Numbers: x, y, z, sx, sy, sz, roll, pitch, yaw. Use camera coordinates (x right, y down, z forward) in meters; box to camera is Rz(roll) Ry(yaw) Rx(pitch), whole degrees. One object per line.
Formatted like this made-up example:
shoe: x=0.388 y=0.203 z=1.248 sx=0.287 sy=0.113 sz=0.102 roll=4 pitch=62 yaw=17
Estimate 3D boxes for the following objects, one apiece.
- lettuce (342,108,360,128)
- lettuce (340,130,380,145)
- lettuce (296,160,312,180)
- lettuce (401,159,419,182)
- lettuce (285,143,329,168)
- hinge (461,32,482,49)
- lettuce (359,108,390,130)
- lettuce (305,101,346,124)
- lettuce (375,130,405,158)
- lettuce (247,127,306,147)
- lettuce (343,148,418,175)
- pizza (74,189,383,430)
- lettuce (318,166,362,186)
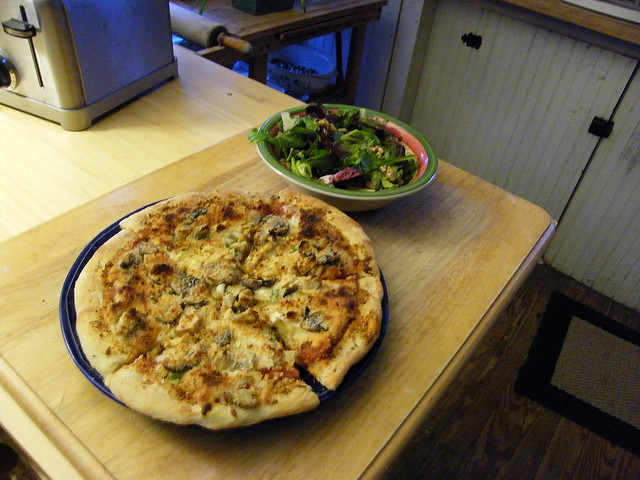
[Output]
lettuce: x=0.097 y=-0.406 z=1.648 sx=0.049 sy=0.019 sz=0.066 roll=16 pitch=81 yaw=12
lettuce: x=0.122 y=-0.325 z=1.596 sx=0.071 sy=0.020 sz=0.073 roll=-2 pitch=36 yaw=5
lettuce: x=-0.044 y=-0.204 z=1.452 sx=0.036 sy=0.018 sz=0.049 roll=-32 pitch=64 yaw=-20
lettuce: x=0.277 y=-0.217 z=1.535 sx=0.059 sy=0.059 sz=0.024 roll=-12 pitch=8 yaw=5
lettuce: x=-0.029 y=-0.258 z=1.507 sx=0.082 sy=0.031 sz=0.083 roll=24 pitch=45 yaw=19
hinge: x=0.877 y=-1.147 z=2.866 sx=0.101 sy=0.066 sz=0.024 roll=26 pitch=26 yaw=39
lettuce: x=0.176 y=-0.391 z=1.631 sx=0.092 sy=0.057 sz=0.023 roll=33 pitch=5 yaw=0
lettuce: x=0.027 y=-0.422 z=1.641 sx=0.106 sy=0.034 sz=0.070 roll=19 pitch=49 yaw=13
lettuce: x=0.233 y=-0.324 z=1.588 sx=0.075 sy=0.025 sz=0.099 roll=-1 pitch=53 yaw=-15
lettuce: x=-0.131 y=-0.292 z=1.547 sx=0.179 sy=0.047 sz=0.069 roll=7 pitch=63 yaw=-18
lettuce: x=0.185 y=-0.241 z=1.515 sx=0.209 sy=0.032 sz=0.081 roll=-5 pitch=63 yaw=-6
pizza: x=-0.201 y=0.121 z=1.213 sx=0.733 sy=0.102 sz=0.643 roll=-7 pitch=46 yaw=-14
lettuce: x=0.067 y=-0.200 z=1.459 sx=0.086 sy=0.026 sz=0.058 roll=-22 pitch=57 yaw=-33
